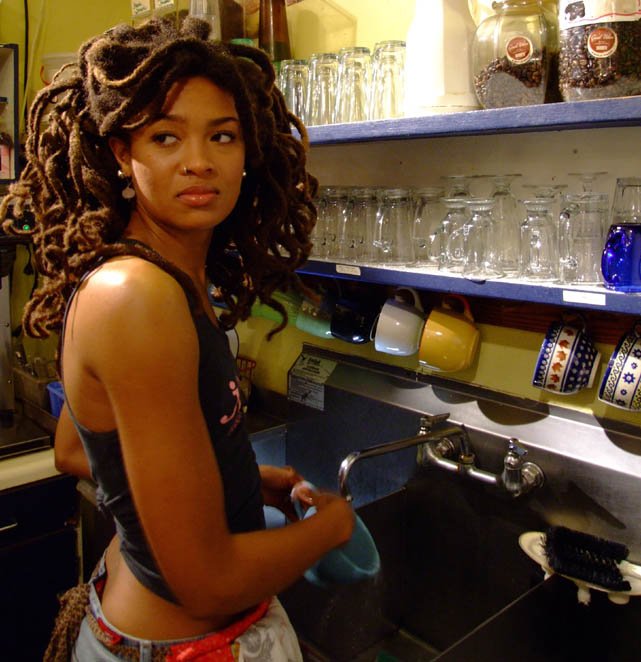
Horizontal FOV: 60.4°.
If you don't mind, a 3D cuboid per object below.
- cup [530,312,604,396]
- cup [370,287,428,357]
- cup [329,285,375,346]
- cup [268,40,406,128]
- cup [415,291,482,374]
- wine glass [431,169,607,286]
[{"bbox_3d":[0.538,0.042,1.210,0.089,0.169,0.126,3,5,7],"label":"cup"},{"bbox_3d":[0.203,-0.014,1.409,0.115,0.192,0.111,-5,-19,-2],"label":"cup"},{"bbox_3d":[0.102,-0.052,1.595,0.105,0.161,0.107,-3,11,1],"label":"cup"},{"bbox_3d":[0.064,-0.554,1.405,0.323,0.265,0.202,2,8,26],"label":"cup"},{"bbox_3d":[0.332,0.008,1.399,0.116,0.205,0.149,-1,-3,10],"label":"cup"},{"bbox_3d":[0.399,-0.198,1.111,0.182,0.197,0.342,2,6,6],"label":"wine glass"}]
